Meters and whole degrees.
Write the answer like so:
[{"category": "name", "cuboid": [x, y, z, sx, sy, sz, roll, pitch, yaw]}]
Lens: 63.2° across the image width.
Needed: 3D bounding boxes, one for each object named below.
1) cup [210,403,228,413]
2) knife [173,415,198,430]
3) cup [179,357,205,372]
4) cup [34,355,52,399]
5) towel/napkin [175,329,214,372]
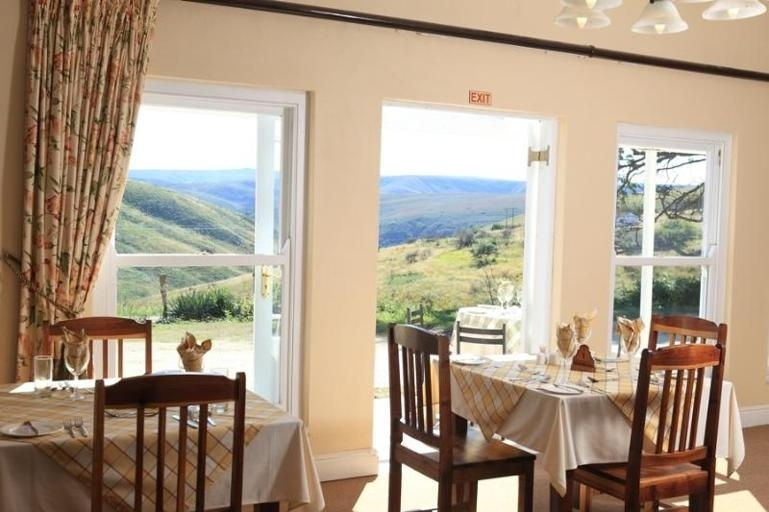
[{"category": "cup", "cuboid": [-0.814, 0.734, 3.050, 0.060, 0.042, 0.059, 1, -7, 0]}, {"category": "knife", "cuboid": [-0.923, 0.765, 2.910, 0.058, 0.018, 0.245, -3, 0, -34]}, {"category": "cup", "cuboid": [-0.998, 0.547, 3.199, 0.094, 0.090, 0.093, -1, 3, 0]}, {"category": "cup", "cuboid": [-1.769, 0.609, 3.256, 0.098, 0.163, 0.100, 1, 0, 0]}, {"category": "towel/napkin", "cuboid": [-0.986, 0.484, 3.208, 0.157, 0.199, 0.180, 1, -2, -20]}]
